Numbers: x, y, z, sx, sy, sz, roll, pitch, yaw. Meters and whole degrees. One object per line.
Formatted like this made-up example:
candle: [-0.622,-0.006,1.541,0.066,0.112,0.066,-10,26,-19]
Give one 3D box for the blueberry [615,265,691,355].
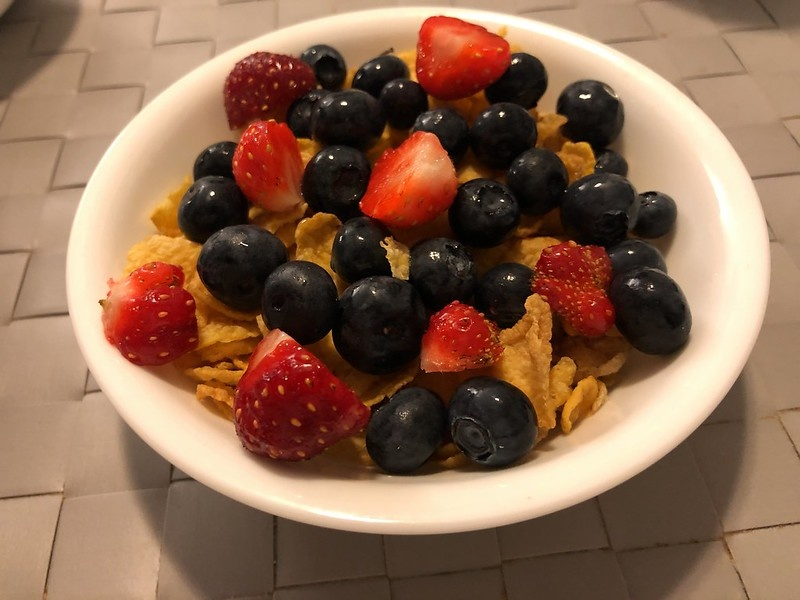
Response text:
blueberry: [0.468,0.023,1.481,0.133,0.126,0.158,-23,85,-2]
